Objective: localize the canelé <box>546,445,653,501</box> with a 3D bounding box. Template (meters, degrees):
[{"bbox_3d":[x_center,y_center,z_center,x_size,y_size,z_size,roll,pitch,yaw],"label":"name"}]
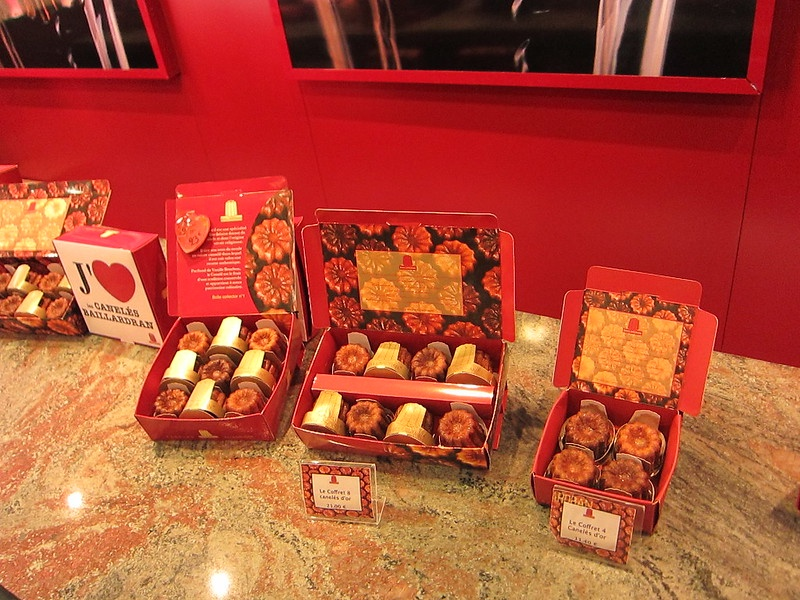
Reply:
[{"bbox_3d":[0.520,0.450,1.466,0.186,0.062,0.130,11,24,32],"label":"canelé"}]

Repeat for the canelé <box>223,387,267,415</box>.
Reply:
[{"bbox_3d":[-0.482,0.311,1.722,0.086,0.033,0.086,3,41,5],"label":"canelé"}]

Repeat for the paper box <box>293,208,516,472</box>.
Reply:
[{"bbox_3d":[0.025,0.130,1.704,0.623,0.638,0.376,5,38,12],"label":"paper box"}]

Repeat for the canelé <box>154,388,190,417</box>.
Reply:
[{"bbox_3d":[-0.715,0.321,1.778,0.077,0.036,0.091,19,67,19],"label":"canelé"}]

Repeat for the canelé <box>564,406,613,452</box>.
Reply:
[{"bbox_3d":[0.531,0.374,1.594,0.125,0.052,0.135,21,45,16],"label":"canelé"}]

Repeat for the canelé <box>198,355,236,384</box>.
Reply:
[{"bbox_3d":[-0.585,0.225,1.833,0.086,0.094,0.092,5,37,8],"label":"canelé"}]

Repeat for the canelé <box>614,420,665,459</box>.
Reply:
[{"bbox_3d":[0.651,0.412,1.560,0.118,0.122,0.053,9,76,6],"label":"canelé"}]

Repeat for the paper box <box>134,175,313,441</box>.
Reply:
[{"bbox_3d":[-0.583,0.013,1.833,0.503,0.659,0.632,-3,34,-5],"label":"paper box"}]
